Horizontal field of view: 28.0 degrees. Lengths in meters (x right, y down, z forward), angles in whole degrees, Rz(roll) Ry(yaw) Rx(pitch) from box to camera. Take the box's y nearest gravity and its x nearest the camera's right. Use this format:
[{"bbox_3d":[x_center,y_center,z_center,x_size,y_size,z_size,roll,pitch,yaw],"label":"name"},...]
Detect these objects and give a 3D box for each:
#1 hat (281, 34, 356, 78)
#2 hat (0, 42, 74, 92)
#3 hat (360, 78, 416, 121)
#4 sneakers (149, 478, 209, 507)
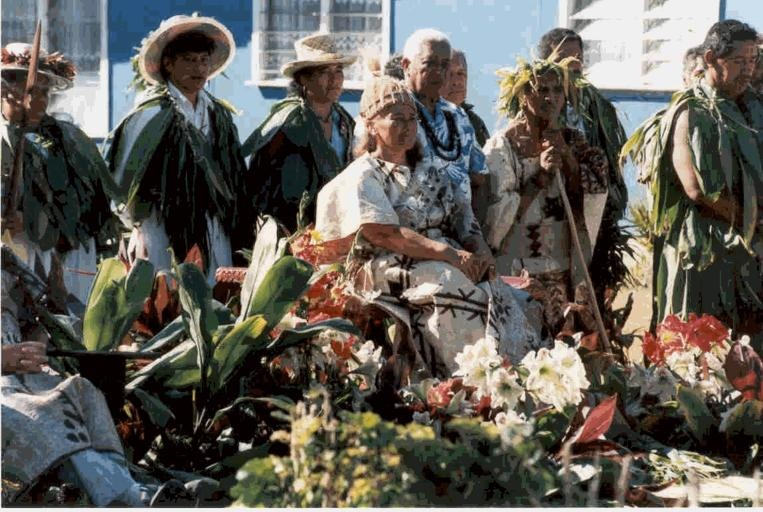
[{"bbox_3d":[-0.416,-1.270,9.711,0.331,0.127,0.339,-12,-8,-21],"label":"hat"},{"bbox_3d":[-2.011,-1.120,9.016,0.334,0.114,0.323,6,-10,-33],"label":"hat"},{"bbox_3d":[0.035,-0.866,8.374,0.215,0.224,0.265,-3,15,12],"label":"hat"},{"bbox_3d":[-0.982,1.142,7.419,0.204,0.066,0.137,2,-3,-39],"label":"sneakers"}]
